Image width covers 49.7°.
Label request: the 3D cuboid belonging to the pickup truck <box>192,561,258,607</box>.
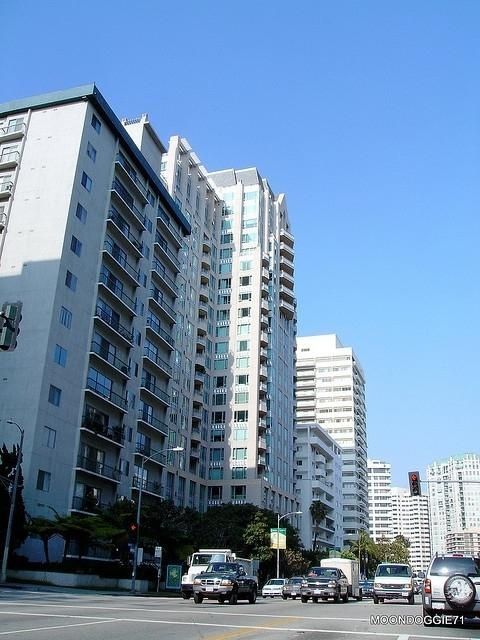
[{"bbox_3d":[-0.577,11.734,23.426,1.644,1.459,3.306,-7,-36,12],"label":"pickup truck"}]

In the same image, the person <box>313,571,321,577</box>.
[{"bbox_3d":[3.993,13.194,27.104,0.394,0.249,0.954,-2,-24,9],"label":"person"}]
